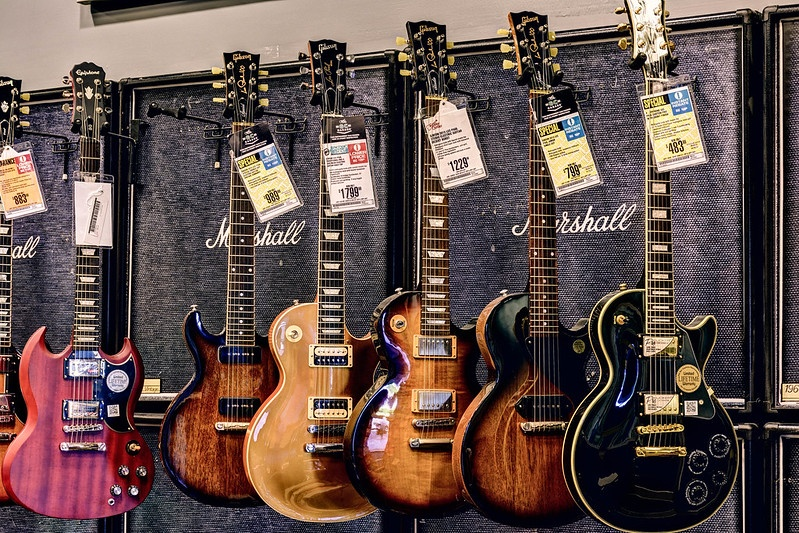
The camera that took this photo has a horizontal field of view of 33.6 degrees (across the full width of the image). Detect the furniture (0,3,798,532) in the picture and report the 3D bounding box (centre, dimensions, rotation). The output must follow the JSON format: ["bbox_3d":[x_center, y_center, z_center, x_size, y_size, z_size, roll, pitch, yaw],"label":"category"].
[{"bbox_3d":[0.085,0.083,5.702,2.340,2.150,0.868,0,-5,11],"label":"furniture"}]

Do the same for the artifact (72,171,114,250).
[{"bbox_3d":[-1.354,-0.253,5.893,0.192,0.315,0.083,1,1,-24],"label":"artifact"}]
